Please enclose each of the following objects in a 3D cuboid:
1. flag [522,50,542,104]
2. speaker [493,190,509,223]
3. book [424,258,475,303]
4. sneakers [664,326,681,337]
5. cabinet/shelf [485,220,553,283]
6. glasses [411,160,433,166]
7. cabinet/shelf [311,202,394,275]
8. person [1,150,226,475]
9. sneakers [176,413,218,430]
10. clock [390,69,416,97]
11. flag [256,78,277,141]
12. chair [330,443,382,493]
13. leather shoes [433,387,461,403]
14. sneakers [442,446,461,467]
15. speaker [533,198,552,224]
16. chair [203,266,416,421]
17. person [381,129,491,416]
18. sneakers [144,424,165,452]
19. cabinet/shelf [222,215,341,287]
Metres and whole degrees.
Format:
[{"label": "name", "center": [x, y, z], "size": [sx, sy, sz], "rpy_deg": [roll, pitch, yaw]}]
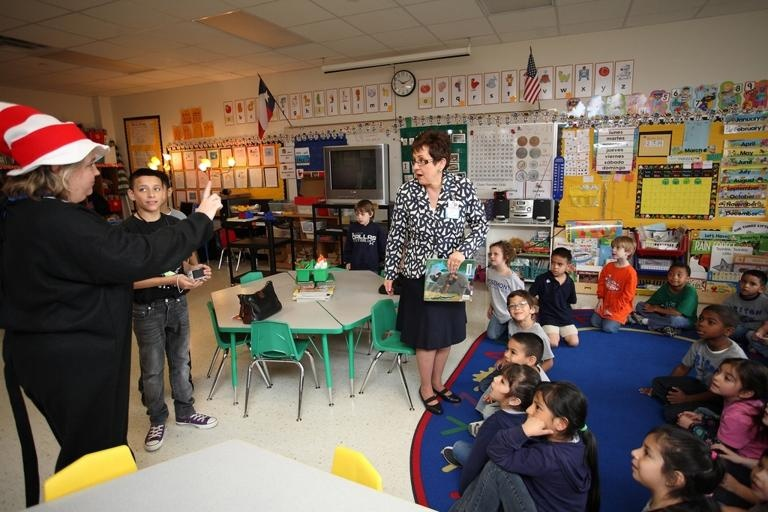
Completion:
[{"label": "flag", "center": [1.861, -2.284, 6.130], "size": [0.198, 0.689, 0.378], "rpy_deg": [2, 10, 16]}, {"label": "speaker", "center": [1.549, -0.663, 6.489], "size": [0.194, 0.375, 0.215], "rpy_deg": [0, 9, 5]}, {"label": "book", "center": [0.489, 0.174, 3.672], "size": [0.331, 0.289, 0.045], "rpy_deg": [0, 14, 6]}, {"label": "sneakers", "center": [2.973, 0.774, 5.045], "size": [0.129, 0.039, 0.093], "rpy_deg": [-7, 16, -39]}, {"label": "cabinet/shelf", "center": [1.671, -0.052, 5.879], "size": [0.819, 0.779, 0.274], "rpy_deg": [0, 2, 17]}, {"label": "glasses", "center": [0.291, -0.693, 3.660], "size": [0.146, 0.041, 0.034], "rpy_deg": [3, 10, 22]}, {"label": "cabinet/shelf", "center": [-0.384, -0.258, 6.187], "size": [0.960, 1.520, 0.448], "rpy_deg": [2, 2, 9]}, {"label": "person", "center": [-1.527, 0.285, 2.608], "size": [1.010, 1.643, 0.267], "rpy_deg": [-2, 10, -11]}, {"label": "sneakers", "center": [-1.492, 1.311, 3.955], "size": [0.333, 0.132, 0.124], "rpy_deg": [0, 7, 2]}, {"label": "clock", "center": [0.284, -2.444, 6.903], "size": [0.372, 0.366, 0.051], "rpy_deg": [8, 23, 26]}, {"label": "flag", "center": [-1.786, -2.283, 7.467], "size": [0.294, 0.920, 0.790], "rpy_deg": [-2, 10, -11]}, {"label": "chair", "center": [-0.143, 1.030, 2.481], "size": [0.235, 0.287, 0.208], "rpy_deg": [3, -4, -3]}, {"label": "leather shoes", "center": [0.524, 1.151, 4.073], "size": [0.223, 0.066, 0.083], "rpy_deg": [4, 9, 28]}, {"label": "sneakers", "center": [0.482, 1.424, 3.511], "size": [0.089, 0.049, 0.131], "rpy_deg": [-20, 30, -25]}, {"label": "speaker", "center": [2.034, -0.579, 6.269], "size": [0.257, 0.275, 0.098], "rpy_deg": [3, 1, 19]}, {"label": "chair", "center": [-0.768, 0.496, 4.438], "size": [1.220, 0.767, 1.585], "rpy_deg": [1, 9, 17]}, {"label": "person", "center": [0.385, 0.158, 3.859], "size": [0.807, 2.217, 0.371], "rpy_deg": [1, 10, 12]}, {"label": "sneakers", "center": [-1.737, 1.379, 3.690], "size": [0.085, 0.092, 0.246], "rpy_deg": [1, 1, -18]}, {"label": "cabinet/shelf", "center": [-1.398, -0.108, 6.885], "size": [1.052, 0.874, 0.381], "rpy_deg": [0, 6, 15]}]
